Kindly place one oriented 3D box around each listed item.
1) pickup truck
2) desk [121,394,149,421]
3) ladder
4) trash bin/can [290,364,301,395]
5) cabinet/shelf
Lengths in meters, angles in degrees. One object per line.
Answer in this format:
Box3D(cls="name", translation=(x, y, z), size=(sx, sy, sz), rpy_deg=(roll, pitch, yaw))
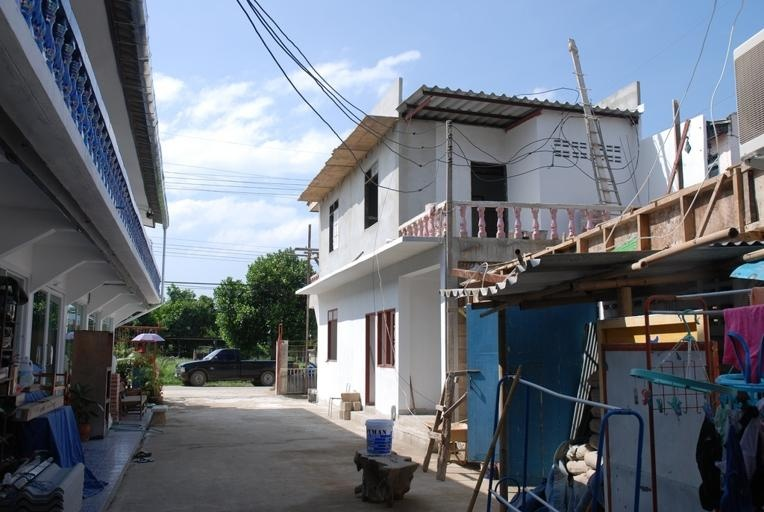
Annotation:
Box3D(cls="pickup truck", translation=(-7.967, 5.823, 32.108), size=(4.678, 1.926, 1.651), rpy_deg=(6, -14, -14))
Box3D(cls="desk", translation=(-6.948, 4.199, 17.354), size=(0.671, 0.689, 1.663), rpy_deg=(7, -16, -21))
Box3D(cls="ladder", translation=(1.282, 3.242, 12.110), size=(0.521, 2.031, 0.840), rpy_deg=(11, -10, -29))
Box3D(cls="trash bin/can", translation=(-4.019, 5.803, 28.674), size=(0.600, 1.342, 0.957), rpy_deg=(0, -10, 0))
Box3D(cls="cabinet/shelf", translation=(-6.254, 2.783, 13.554), size=(0.853, 2.381, 0.929), rpy_deg=(-1, -14, 9))
